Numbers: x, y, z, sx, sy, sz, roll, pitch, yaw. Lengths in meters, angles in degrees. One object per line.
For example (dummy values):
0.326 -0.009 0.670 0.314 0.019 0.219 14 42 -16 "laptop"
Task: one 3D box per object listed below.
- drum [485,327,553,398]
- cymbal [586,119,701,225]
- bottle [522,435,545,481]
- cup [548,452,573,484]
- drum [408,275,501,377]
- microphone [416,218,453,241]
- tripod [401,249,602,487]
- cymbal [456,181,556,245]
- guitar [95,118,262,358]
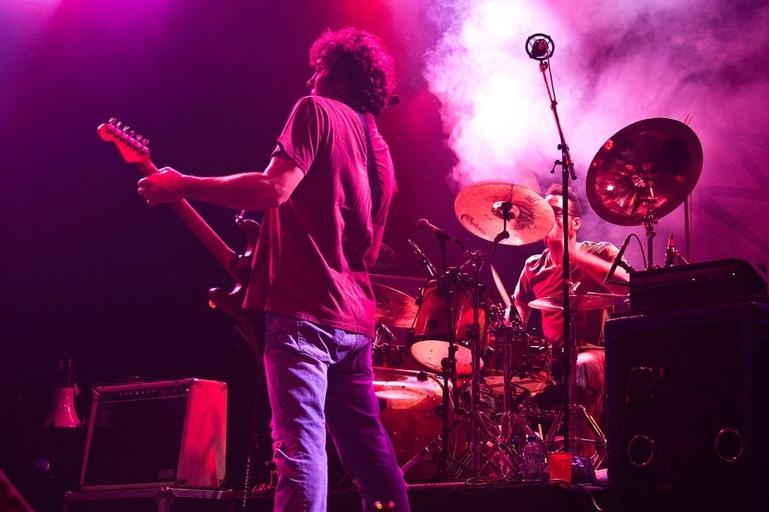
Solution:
1.245 1.025 6.922 0.580 0.283 0.730 -3 -34 20 "drum"
2.062 -0.659 5.938 0.379 0.782 0.951 22 -30 -38 "cymbal"
1.125 1.544 5.616 0.186 0.343 0.328 -1 -23 10 "bottle"
1.285 1.549 5.432 0.186 0.240 0.259 -5 -24 18 "cup"
0.572 0.735 6.768 0.824 0.812 0.856 10 -42 8 "drum"
0.475 -0.275 7.354 0.433 0.121 0.115 31 19 21 "microphone"
1.048 1.223 6.775 1.574 1.764 1.945 1 -48 8 "tripod"
1.108 -0.395 6.894 0.833 0.862 0.169 10 -40 2 "cymbal"
-1.921 -0.054 6.572 0.371 0.921 2.623 38 -15 42 "guitar"
